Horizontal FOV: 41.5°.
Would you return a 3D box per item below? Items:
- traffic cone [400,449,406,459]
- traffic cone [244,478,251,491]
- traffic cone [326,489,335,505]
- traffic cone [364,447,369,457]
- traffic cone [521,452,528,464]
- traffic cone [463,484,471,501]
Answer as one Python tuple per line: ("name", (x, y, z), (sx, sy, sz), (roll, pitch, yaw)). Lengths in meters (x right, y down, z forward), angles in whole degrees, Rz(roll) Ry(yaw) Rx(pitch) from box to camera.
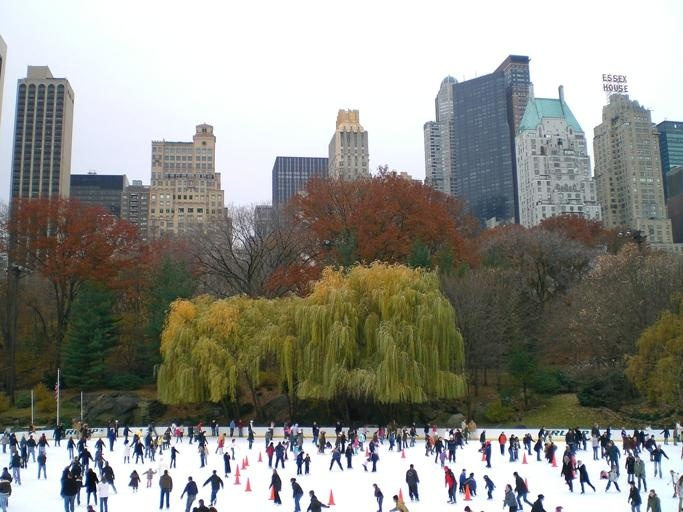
("traffic cone", (4.770, 15.606, 70.319), (0.469, 0.722, 0.470), (-7, -7, 32))
("traffic cone", (-6.678, 16.608, 64.937), (0.428, 0.909, 0.955), (1, -10, -7))
("traffic cone", (-0.695, 16.900, 62.563), (0.480, 0.989, 1.264), (0, -10, -3))
("traffic cone", (1.934, 15.665, 70.939), (0.374, 0.560, 0.378), (-2, -6, -1))
("traffic cone", (13.847, 15.594, 68.741), (0.567, 0.673, 0.563), (2, 3, 41))
("traffic cone", (8.807, 16.677, 63.195), (0.514, 1.119, 0.887), (-2, -9, 7))
